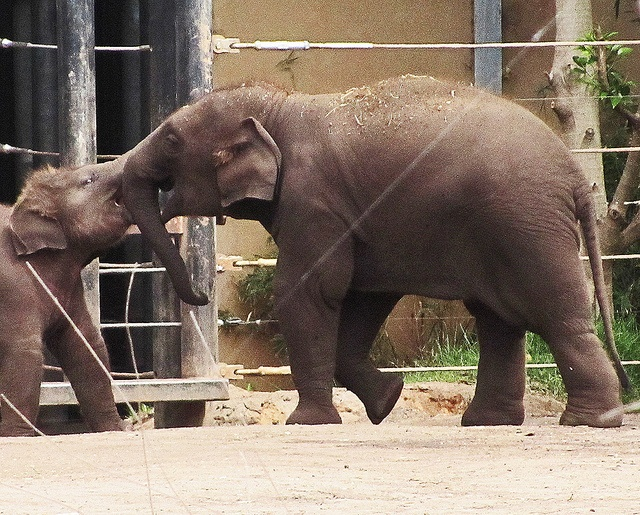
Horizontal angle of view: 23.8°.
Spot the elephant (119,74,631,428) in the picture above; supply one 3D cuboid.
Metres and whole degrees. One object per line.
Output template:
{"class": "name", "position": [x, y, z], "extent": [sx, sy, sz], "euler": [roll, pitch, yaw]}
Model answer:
{"class": "elephant", "position": [0.162, 0.024, 5.877], "extent": [1.910, 1.335, 0.817], "euler": [2, 2, 17]}
